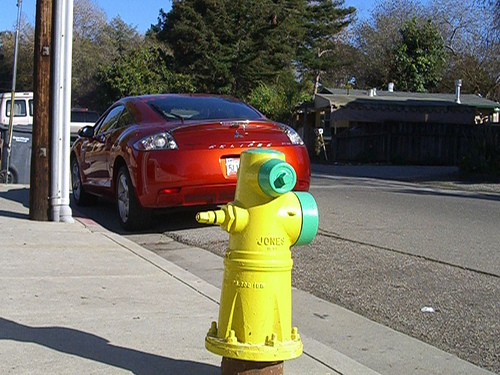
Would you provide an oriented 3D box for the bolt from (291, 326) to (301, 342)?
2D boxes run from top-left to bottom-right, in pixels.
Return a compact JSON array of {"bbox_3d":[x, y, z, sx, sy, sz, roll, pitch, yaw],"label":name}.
[{"bbox_3d":[0.228,0.749,2.352,0.034,0.077,0.062,1,-19,-5],"label":"bolt"}]

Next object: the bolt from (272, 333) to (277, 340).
[{"bbox_3d":[0.117,0.728,2.240,0.020,0.029,0.022,3,4,19],"label":"bolt"}]

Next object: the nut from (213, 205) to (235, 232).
[{"bbox_3d":[-0.140,0.179,2.339,0.087,0.163,0.139,3,-9,-20],"label":"nut"}]

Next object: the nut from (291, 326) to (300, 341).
[{"bbox_3d":[0.223,0.749,2.359,0.030,0.069,0.060,1,3,0],"label":"nut"}]

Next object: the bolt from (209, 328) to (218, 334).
[{"bbox_3d":[-0.191,0.736,2.349,0.024,0.022,0.028,0,5,-7],"label":"bolt"}]

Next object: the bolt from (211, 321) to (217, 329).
[{"bbox_3d":[-0.188,0.709,2.364,0.023,0.034,0.027,1,-3,-6],"label":"bolt"}]

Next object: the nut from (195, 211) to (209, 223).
[{"bbox_3d":[-0.241,0.146,2.320,0.066,0.047,0.027,12,-22,-39],"label":"nut"}]

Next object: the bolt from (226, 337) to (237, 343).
[{"bbox_3d":[-0.093,0.743,2.231,0.028,0.025,0.019,4,-3,28],"label":"bolt"}]

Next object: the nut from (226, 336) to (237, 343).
[{"bbox_3d":[-0.093,0.740,2.232,0.036,0.025,0.025,3,0,-38],"label":"nut"}]

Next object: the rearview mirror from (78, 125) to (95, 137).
[{"bbox_3d":[-2.902,-0.992,8.101,0.270,0.192,0.359,1,5,-16],"label":"rearview mirror"}]

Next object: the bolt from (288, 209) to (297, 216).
[{"bbox_3d":[0.215,0.128,2.350,0.026,0.022,0.030,-2,7,-8],"label":"bolt"}]

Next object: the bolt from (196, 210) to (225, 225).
[{"bbox_3d":[-0.197,0.153,2.305,0.173,0.072,0.059,10,-22,-33],"label":"bolt"}]

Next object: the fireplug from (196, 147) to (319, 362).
[{"bbox_3d":[0.035,0.312,2.334,0.608,1.014,0.360,2,4,7],"label":"fireplug"}]

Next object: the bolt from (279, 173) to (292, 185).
[{"bbox_3d":[0.170,-0.045,2.214,0.067,0.084,0.036,-2,-3,-33],"label":"bolt"}]
